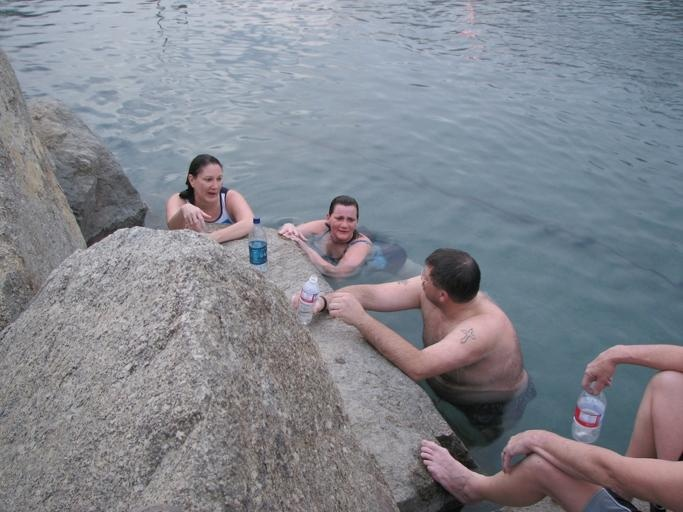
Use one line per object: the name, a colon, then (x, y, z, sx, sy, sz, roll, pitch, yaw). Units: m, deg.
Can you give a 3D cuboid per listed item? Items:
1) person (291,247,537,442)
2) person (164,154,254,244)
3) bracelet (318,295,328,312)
person: (0.653, 0.822, 5.231, 1.387, 1.658, 0.730, -6, 56, 5)
person: (-1.616, -0.634, 7.207, 1.063, 1.095, 1.386, -1, 22, -18)
bracelet: (-0.177, 0.447, 5.550, 0.097, 0.134, 0.105, 0, 31, 1)
